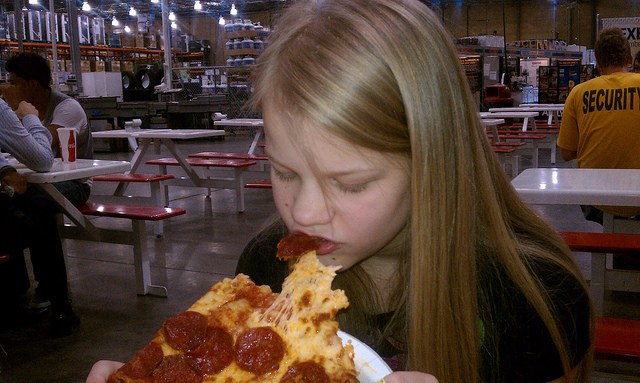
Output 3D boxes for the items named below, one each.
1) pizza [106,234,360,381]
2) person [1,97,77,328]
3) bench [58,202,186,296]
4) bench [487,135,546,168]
[{"bbox_3d":[-0.263,0.409,1.859,0.825,0.439,0.393,1,16,4],"label":"pizza"},{"bbox_3d":[-2.508,0.186,4.283,0.553,1.817,1.203,-9,18,-28],"label":"person"},{"bbox_3d":[-2.164,0.584,5.252,1.720,0.832,0.586,1,8,44],"label":"bench"},{"bbox_3d":[3.843,-0.819,9.736,0.707,0.567,1.393,6,16,20],"label":"bench"}]
